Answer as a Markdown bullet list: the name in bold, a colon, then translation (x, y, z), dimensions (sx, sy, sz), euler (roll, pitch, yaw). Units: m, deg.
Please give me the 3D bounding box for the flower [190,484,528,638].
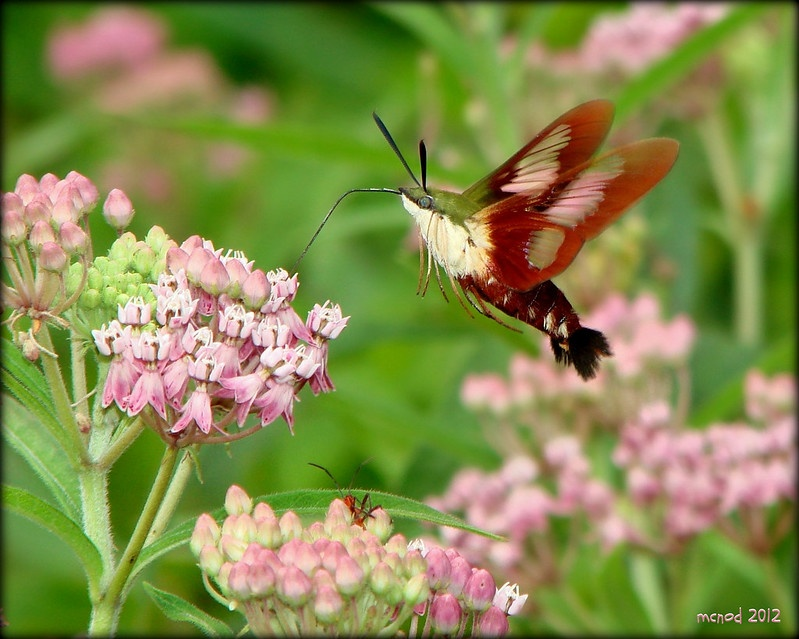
- **flower**: translation (-0.147, 0.631, 2.316), dimensions (0.505, 0.217, 0.468), euler (25, -24, -9)
